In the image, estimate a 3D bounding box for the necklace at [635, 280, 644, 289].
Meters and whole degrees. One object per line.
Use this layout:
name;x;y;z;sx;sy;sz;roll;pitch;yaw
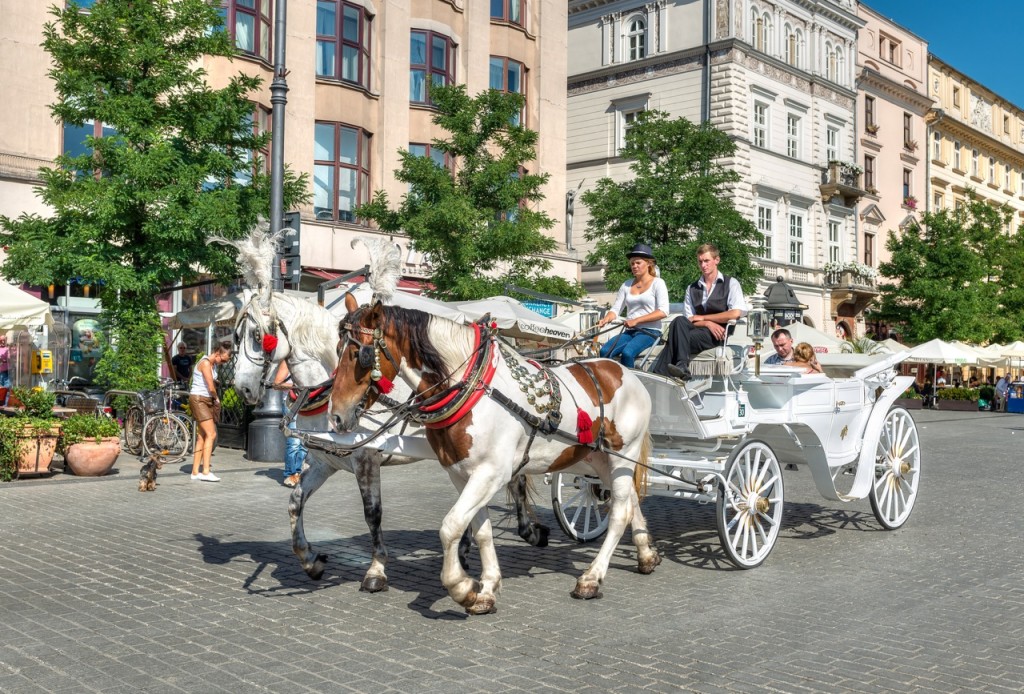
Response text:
necklace;1.852;-0.884;18.084;0.110;0.075;0.041;16;26;-2

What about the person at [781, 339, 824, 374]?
person;4.524;0.175;19.042;0.423;0.514;0.840;13;-6;-32

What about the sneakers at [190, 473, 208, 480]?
sneakers;-5.577;2.311;22.510;0.300;0.111;0.109;-3;-4;19

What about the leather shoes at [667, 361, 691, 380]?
leather shoes;2.343;0.353;17.467;0.394;0.136;0.154;27;-13;2

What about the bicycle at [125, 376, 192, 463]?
bicycle;-7.032;1.545;25.055;1.019;1.121;1.852;18;-5;-38
